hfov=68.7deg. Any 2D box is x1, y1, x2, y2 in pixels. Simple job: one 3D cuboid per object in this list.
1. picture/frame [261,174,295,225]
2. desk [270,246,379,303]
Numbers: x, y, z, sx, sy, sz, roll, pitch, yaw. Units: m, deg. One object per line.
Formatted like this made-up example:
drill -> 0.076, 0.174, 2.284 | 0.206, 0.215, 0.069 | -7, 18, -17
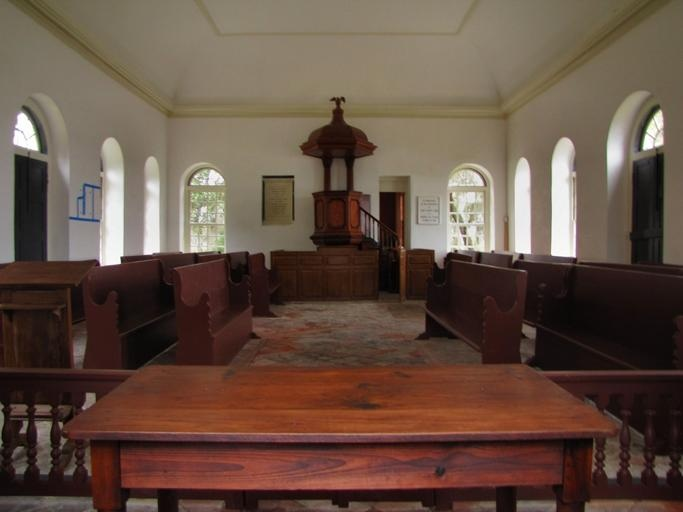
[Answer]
picture/frame -> -1.505, -1.372, 11.640 | 1.021, 1.514, 0.152 | 0, 1, 0
desk -> -0.348, 0.126, 10.843 | 2.252, 1.199, 1.421 | -2, 26, -4
